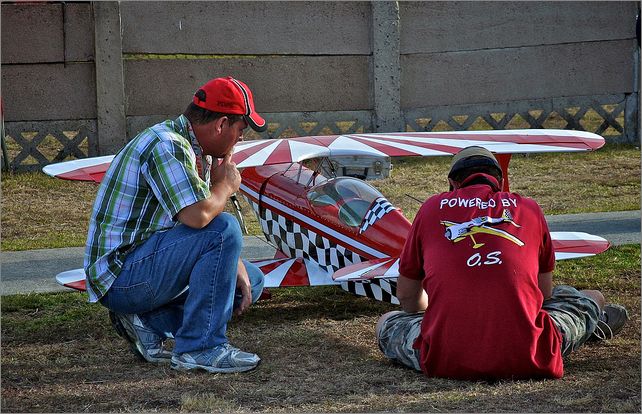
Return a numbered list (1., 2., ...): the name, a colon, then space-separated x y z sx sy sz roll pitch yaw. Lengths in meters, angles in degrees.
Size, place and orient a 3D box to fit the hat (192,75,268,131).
1. hat: -1.170 -1.392 14.804 1.030 0.519 0.581 19 10 -19
